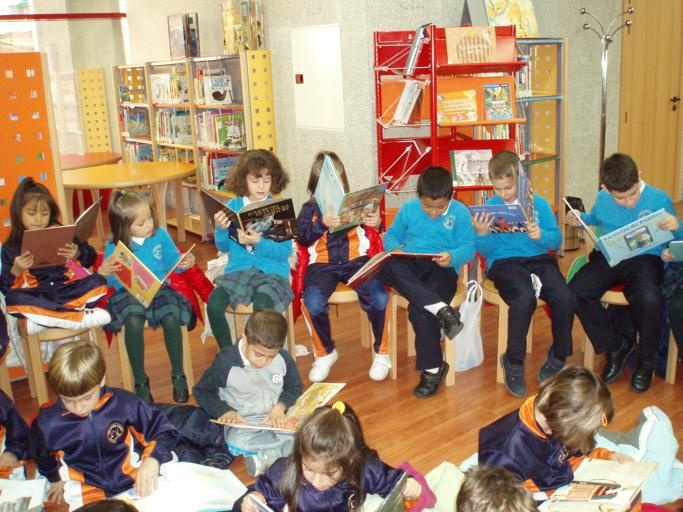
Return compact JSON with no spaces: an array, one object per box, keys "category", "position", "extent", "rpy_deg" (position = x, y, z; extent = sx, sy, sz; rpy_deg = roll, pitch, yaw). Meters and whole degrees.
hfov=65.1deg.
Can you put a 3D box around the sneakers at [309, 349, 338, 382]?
[{"category":"sneakers","position":[-0.108,0.667,3.329],"extent":[0.089,0.102,0.251],"rpy_deg":[9,40,34]}]

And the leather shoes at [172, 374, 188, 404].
[{"category":"leather shoes","position":[-0.912,0.762,3.042],"extent":[0.061,0.189,0.069],"rpy_deg":[-5,-30,-10]}]

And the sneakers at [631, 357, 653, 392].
[{"category":"sneakers","position":[1.685,0.673,3.002],"extent":[0.079,0.094,0.222],"rpy_deg":[10,38,30]}]

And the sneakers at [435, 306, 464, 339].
[{"category":"sneakers","position":[0.596,0.357,3.001],"extent":[0.101,0.094,0.219],"rpy_deg":[-45,12,7]}]

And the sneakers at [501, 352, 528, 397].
[{"category":"sneakers","position":[0.985,0.697,3.079],"extent":[0.094,0.270,0.104],"rpy_deg":[-9,-15,-3]}]

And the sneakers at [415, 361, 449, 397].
[{"category":"sneakers","position":[0.513,0.728,3.102],"extent":[0.105,0.255,0.102],"rpy_deg":[18,-17,44]}]
